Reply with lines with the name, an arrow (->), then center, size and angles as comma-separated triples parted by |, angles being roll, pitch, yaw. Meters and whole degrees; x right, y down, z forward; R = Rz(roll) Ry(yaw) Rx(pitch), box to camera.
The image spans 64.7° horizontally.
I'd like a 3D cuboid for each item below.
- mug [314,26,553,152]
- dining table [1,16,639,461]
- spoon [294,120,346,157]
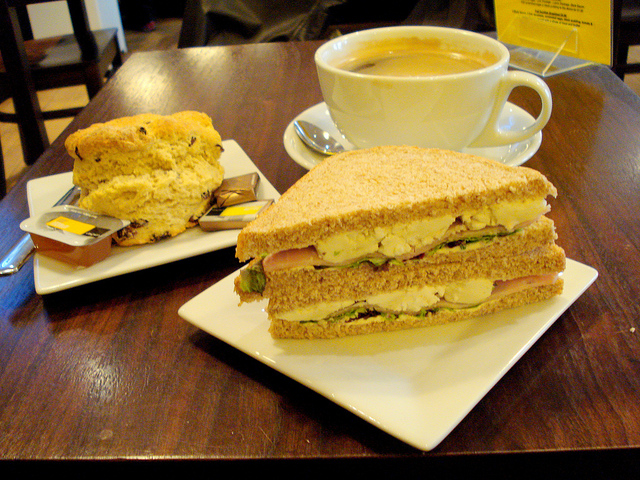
mug -> 0.238, -0.343, 1.163 | 0.486, 0.205, 0.298 | 1, 42, 4
dining table -> 0.027, -0.112, 1.039 | 1.084, 0.260, 1.035 | -1, 54, 6
spoon -> -0.011, -0.239, 1.221 | 0.132, 0.029, 0.076 | 34, 31, 16
